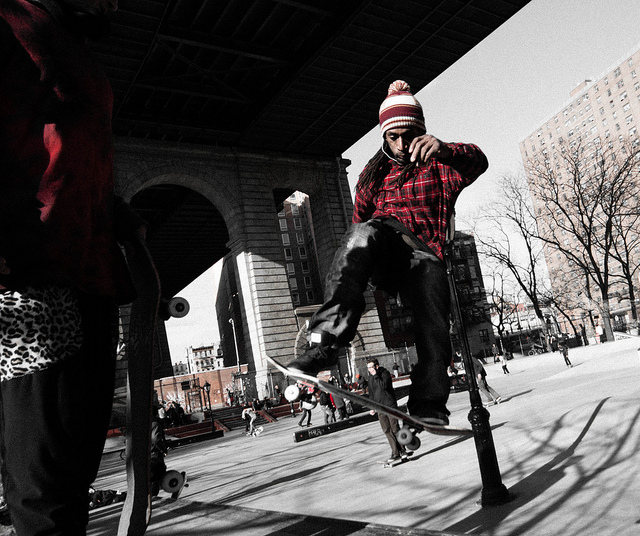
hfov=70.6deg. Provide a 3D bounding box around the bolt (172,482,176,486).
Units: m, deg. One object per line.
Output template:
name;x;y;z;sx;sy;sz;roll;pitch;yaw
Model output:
bolt;-1.253;1.862;3.856;0.030;0.033;0.008;-1;-3;-6

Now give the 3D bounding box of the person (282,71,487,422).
person;0.465;-0.212;2.958;0.933;2.332;1.187;31;-39;-34

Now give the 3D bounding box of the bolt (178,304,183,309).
bolt;-0.633;0.179;2.046;0.003;0.020;0.023;-14;-11;37

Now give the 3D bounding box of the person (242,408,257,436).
person;-2.932;6.537;19.082;0.398;1.111;1.256;-5;-10;-12

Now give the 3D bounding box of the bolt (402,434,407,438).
bolt;0.517;1.046;2.787;0.018;0.034;0.017;-14;7;22

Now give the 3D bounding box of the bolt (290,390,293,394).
bolt;-0.170;0.737;2.660;0.014;0.018;0.047;-7;-10;-3
